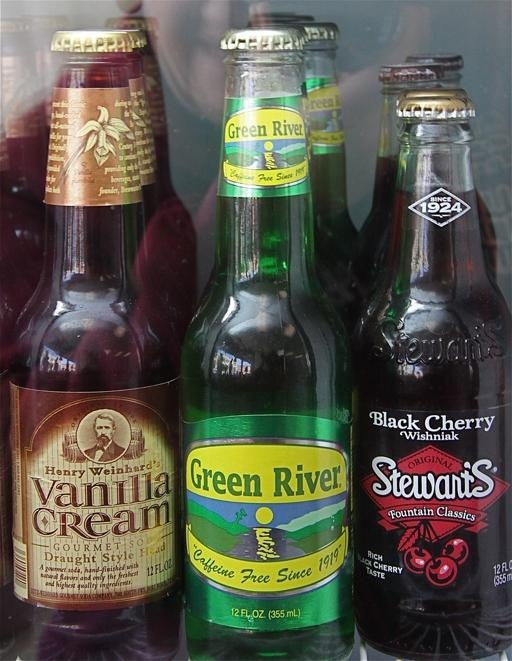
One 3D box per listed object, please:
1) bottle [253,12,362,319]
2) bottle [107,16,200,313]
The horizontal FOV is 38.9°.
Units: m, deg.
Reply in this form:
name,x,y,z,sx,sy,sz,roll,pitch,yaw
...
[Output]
name,x,y,z,sx,sy,sz,roll,pitch,yaw
bottle,0.064,-0.162,0.692,0.090,0.308,0.092,0,28,0
bottle,-0.100,-0.154,0.733,0.093,0.297,0.085,3,20,-1
